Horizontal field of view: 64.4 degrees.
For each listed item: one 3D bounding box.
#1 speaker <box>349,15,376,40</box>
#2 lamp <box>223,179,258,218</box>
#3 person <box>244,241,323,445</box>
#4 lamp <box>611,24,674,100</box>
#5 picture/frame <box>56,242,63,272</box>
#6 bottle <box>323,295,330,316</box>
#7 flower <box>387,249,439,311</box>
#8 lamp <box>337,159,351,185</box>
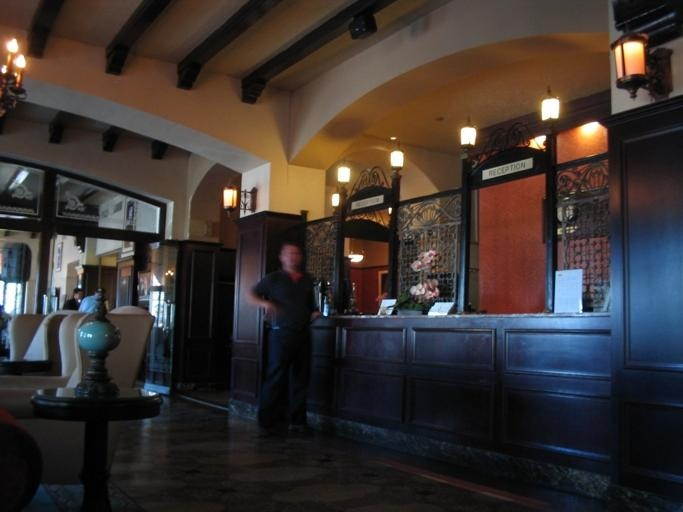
[{"bbox_3d":[0.237,-2.425,5.750,0.214,0.209,0.298,6,-9,-34],"label":"speaker"},{"bbox_3d":[-1.496,-0.817,7.946,0.473,0.634,0.453,2,-4,-32],"label":"lamp"},{"bbox_3d":[-0.636,0.902,6.165,0.737,2.060,0.513,4,-9,-17],"label":"person"},{"bbox_3d":[2.023,-1.276,3.671,0.382,0.415,0.213,5,-9,-26],"label":"lamp"},{"bbox_3d":[-6.611,0.029,12.732,0.055,0.730,0.675,-2,-2,-21],"label":"picture/frame"},{"bbox_3d":[-0.184,0.596,6.435,0.076,0.241,0.173,2,-8,-4],"label":"bottle"},{"bbox_3d":[0.822,0.263,5.609,0.390,0.647,0.485,7,-10,-38],"label":"flower"},{"bbox_3d":[0.038,-1.047,6.980,0.125,0.349,0.373,1,-8,5],"label":"lamp"}]
